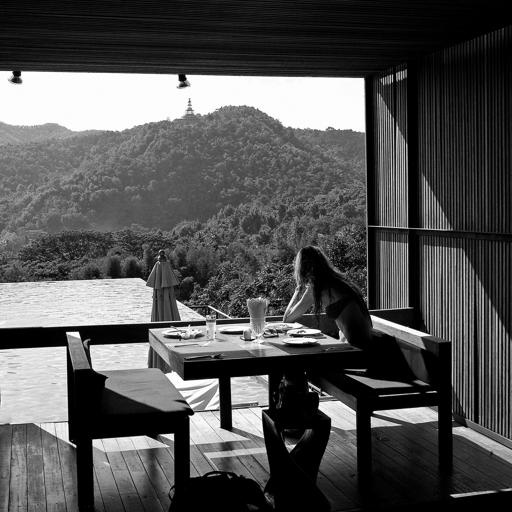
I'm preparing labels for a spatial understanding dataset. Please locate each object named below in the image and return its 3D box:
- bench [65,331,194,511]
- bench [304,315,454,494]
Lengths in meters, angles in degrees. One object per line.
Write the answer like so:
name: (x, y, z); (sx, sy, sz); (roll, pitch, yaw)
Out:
bench: (-0.626, 0.432, 2.691); (0.495, 0.829, 1.044); (-1, 6, -15)
bench: (0.763, 0.906, 3.389); (0.410, 0.780, 1.065); (0, -7, -2)
